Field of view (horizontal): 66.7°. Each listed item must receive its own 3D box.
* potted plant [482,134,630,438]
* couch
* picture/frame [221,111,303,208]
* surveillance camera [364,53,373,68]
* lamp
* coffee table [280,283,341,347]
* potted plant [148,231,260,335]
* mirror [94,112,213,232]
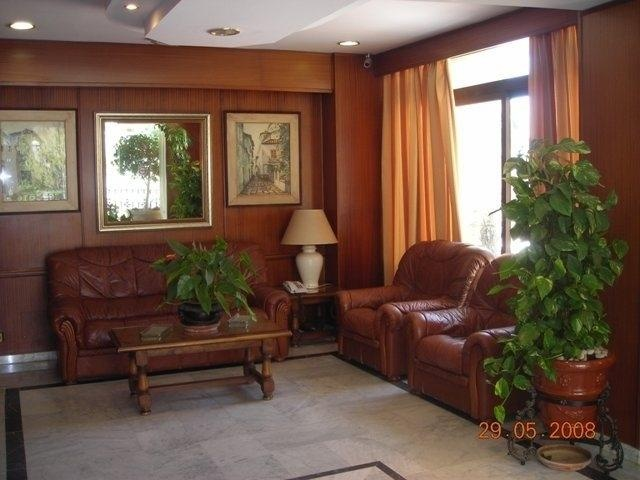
[{"bbox_3d":[1.616,0.371,3.402,0.862,2.120,0.730,2,5,32],"label":"potted plant"},{"bbox_3d":[-1.659,0.719,5.403,2.427,1.207,1.107,-1,8,-27],"label":"couch"},{"bbox_3d":[-0.779,-1.044,6.108,1.224,1.457,0.057,-2,6,-24],"label":"picture/frame"},{"bbox_3d":[0.591,-2.237,6.056,0.118,0.165,0.180,0,5,4],"label":"surveillance camera"},{"bbox_3d":[-0.009,0.065,6.227,0.877,1.078,0.881,1,5,20],"label":"lamp"},{"bbox_3d":[-0.134,0.875,6.073,0.732,0.607,0.723,-3,5,-27],"label":"coffee table"},{"bbox_3d":[-0.977,0.378,4.451,0.929,0.676,0.925,0,-4,5],"label":"potted plant"},{"bbox_3d":[-2.001,-0.821,5.673,1.401,1.428,0.104,-2,8,-21],"label":"mirror"}]
